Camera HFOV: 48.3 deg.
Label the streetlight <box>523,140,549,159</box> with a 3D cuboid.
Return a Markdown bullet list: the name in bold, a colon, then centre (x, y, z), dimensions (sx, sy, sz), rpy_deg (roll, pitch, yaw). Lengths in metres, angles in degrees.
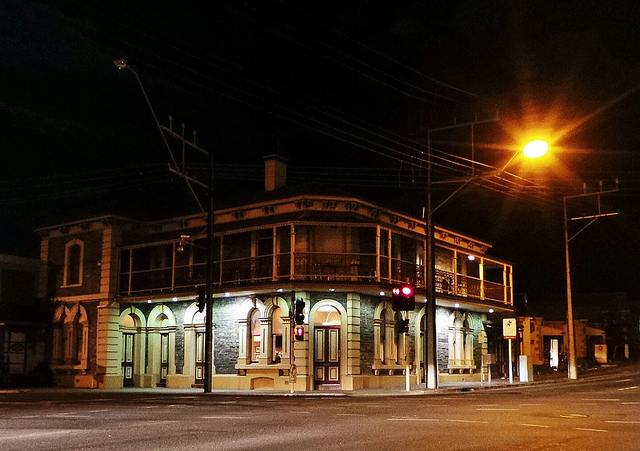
- **streetlight**: centre (7.554, -2.660, 24.976), dimensions (0.804, 0.464, 0.591), rpy_deg (-3, -17, 9)

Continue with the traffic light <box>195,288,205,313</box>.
- **traffic light**: centre (-5.668, 3.483, 33.574), dimensions (0.382, 0.979, 0.567), rpy_deg (3, -17, -9)

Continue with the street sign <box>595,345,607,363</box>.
- **street sign**: centre (30.474, 13.971, 77.386), dimensions (1.249, 2.475, 1.308), rpy_deg (0, -14, 4)

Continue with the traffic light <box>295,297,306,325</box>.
- **traffic light**: centre (-0.917, 3.808, 31.754), dimensions (0.397, 1.112, 0.703), rpy_deg (1, -16, -4)

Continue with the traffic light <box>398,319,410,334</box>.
- **traffic light**: centre (3.826, 4.531, 32.444), dimensions (0.362, 0.663, 0.642), rpy_deg (-11, -20, 33)

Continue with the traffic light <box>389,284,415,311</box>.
- **traffic light**: centre (3.624, 3.158, 31.214), dimensions (0.922, 1.081, 0.719), rpy_deg (0, -16, 0)

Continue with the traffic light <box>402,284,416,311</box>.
- **traffic light**: centre (3.842, 3.102, 31.036), dimensions (0.551, 1.075, 0.363), rpy_deg (4, -16, -14)

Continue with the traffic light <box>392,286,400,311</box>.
- **traffic light**: centre (3.338, 3.173, 31.210), dimensions (0.291, 1.011, 0.589), rpy_deg (-1, -16, 6)
